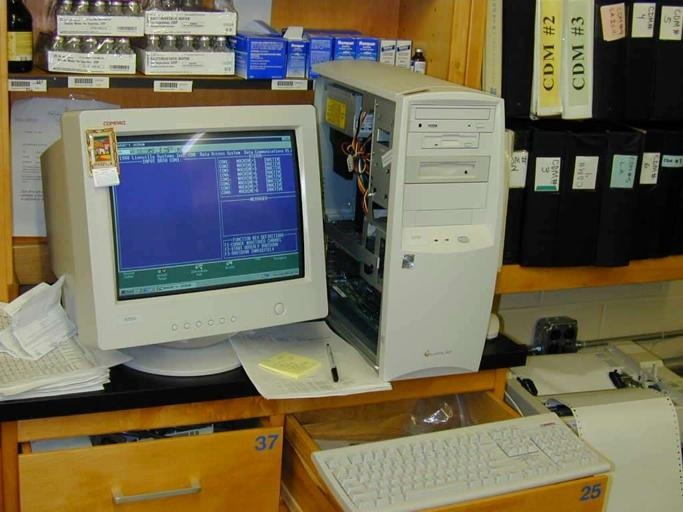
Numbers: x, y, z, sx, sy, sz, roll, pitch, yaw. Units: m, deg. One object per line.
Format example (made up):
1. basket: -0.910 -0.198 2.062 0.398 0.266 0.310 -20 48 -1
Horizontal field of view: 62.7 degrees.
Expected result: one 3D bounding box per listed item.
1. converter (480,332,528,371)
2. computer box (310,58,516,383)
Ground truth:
1. converter: 0.452 0.273 1.578 0.153 0.037 0.142 -3 17 0
2. computer box: 0.138 -0.013 1.557 0.445 0.964 0.470 -4 22 -20
